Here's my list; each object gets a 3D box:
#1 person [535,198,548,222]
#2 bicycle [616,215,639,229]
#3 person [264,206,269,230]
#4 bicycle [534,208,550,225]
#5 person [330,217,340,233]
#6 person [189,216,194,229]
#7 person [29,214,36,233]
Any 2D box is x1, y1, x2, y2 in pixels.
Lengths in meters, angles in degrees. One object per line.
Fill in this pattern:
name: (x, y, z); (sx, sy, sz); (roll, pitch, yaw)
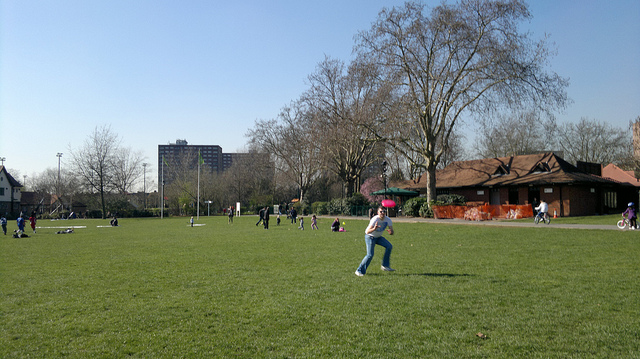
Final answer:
person: (19.682, 2.677, 46.556); (1.165, 1.289, 2.027); (0, 0, 13)
bicycle: (24.268, 3.269, 40.414); (2.023, 1.250, 1.014); (-4, 2, 10)
person: (-5.103, 3.665, 48.968); (0.311, 1.749, 0.472); (1, -5, -16)
bicycle: (19.791, 3.450, 46.063); (1.744, 1.112, 0.914); (-6, -3, 14)
person: (1.394, 3.987, 45.235); (0.953, 1.323, 0.885); (-4, 7, -19)
person: (-14.554, 4.865, 58.761); (0.384, 1.206, 1.115); (2, -4, -15)
person: (-25.828, 3.916, 46.730); (0.408, 1.610, 1.003); (3, -6, -30)
